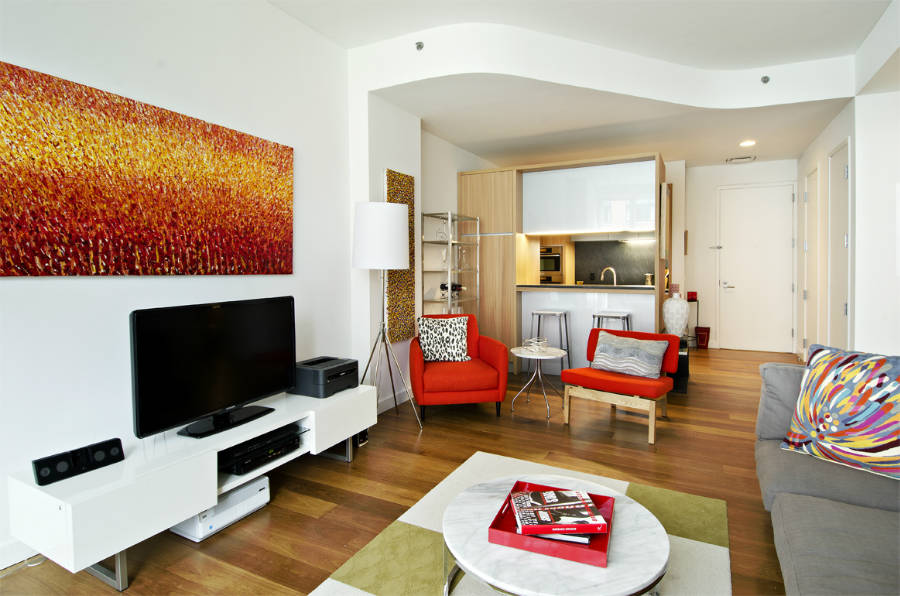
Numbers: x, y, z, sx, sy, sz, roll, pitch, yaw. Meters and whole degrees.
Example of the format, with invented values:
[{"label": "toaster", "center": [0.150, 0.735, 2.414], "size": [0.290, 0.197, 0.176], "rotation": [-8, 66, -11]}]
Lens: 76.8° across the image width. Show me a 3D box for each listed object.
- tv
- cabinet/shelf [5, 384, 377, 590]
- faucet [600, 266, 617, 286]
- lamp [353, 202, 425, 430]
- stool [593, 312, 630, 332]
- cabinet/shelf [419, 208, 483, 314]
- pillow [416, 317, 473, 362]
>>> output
[{"label": "tv", "center": [-1.719, 0.498, 4.038], "size": [0.283, 0.752, 1.094], "rotation": [0, 2, 35]}, {"label": "cabinet/shelf", "center": [-1.650, 1.262, 4.202], "size": [0.711, 0.854, 2.444], "rotation": [4, 7, 41]}, {"label": "faucet", "center": [2.330, -0.335, 8.305], "size": [0.220, 0.242, 0.112], "rotation": [4, 8, 38]}, {"label": "lamp", "center": [-0.615, 0.136, 5.548], "size": [0.569, 2.111, 0.744], "rotation": [-2, 6, -9]}, {"label": "stool", "center": [1.971, 0.272, 6.888], "size": [0.360, 0.327, 0.279], "rotation": [-1, -3, 28]}, {"label": "cabinet/shelf", "center": [0.045, -0.382, 6.942], "size": [0.522, 1.267, 1.121], "rotation": [0, 6, 13]}, {"label": "pillow", "center": [-0.061, 0.423, 5.812], "size": [0.450, 0.387, 0.150], "rotation": [0, -8, -3]}]
